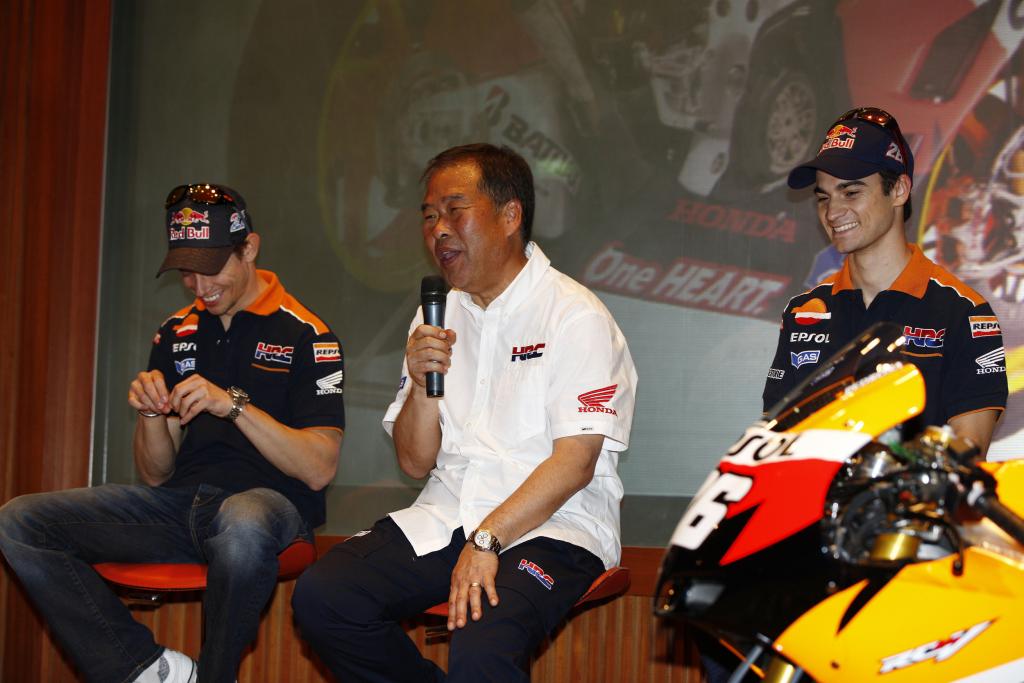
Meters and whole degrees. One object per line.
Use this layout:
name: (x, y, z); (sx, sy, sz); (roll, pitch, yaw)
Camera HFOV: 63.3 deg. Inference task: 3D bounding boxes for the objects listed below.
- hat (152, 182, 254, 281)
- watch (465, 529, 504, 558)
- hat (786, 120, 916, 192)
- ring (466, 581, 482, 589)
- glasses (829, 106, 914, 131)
hat: (-1.219, -0.460, 3.383); (0.281, 0.267, 0.420); (5, 24, 15)
watch: (-0.087, 0.630, 2.645); (0.098, 0.058, 0.103); (13, -35, 10)
hat: (1.274, -0.711, 3.122); (0.396, 0.230, 0.282); (5, -5, -20)
ring: (-0.114, 0.753, 2.596); (0.043, 0.020, 0.020); (7, 3, 1)
glasses: (1.346, -0.840, 3.101); (0.224, 0.089, 0.160); (10, 19, -1)
